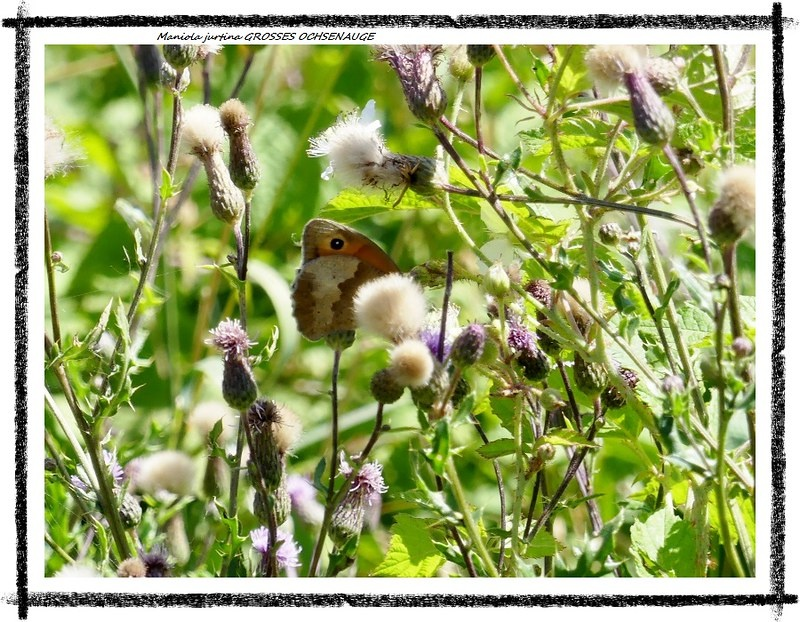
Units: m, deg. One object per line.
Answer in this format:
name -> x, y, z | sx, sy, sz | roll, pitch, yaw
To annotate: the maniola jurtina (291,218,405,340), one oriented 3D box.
maniola jurtina -> -0.212, -0.087, 3.008 | 0.178, 0.340, 0.448 | 8, 15, -5
